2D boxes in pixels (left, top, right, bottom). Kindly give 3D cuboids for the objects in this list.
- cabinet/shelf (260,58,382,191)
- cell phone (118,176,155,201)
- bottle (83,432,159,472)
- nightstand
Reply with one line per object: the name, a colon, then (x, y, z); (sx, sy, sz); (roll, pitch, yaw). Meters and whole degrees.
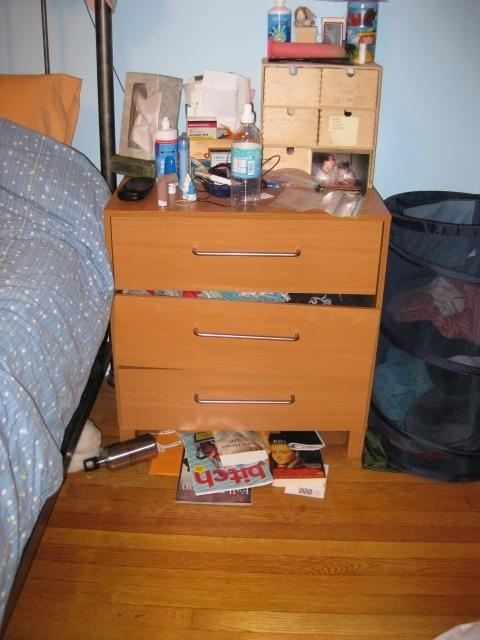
cabinet/shelf: (0.206, -0.500, 1.377); (0.344, 0.326, 0.130); (3, 33, 5)
cell phone: (-0.258, -0.325, 1.355); (0.074, 0.043, 0.156); (2, 20, -1)
bottle: (-0.320, 0.329, 1.476); (0.181, 0.064, 0.082); (-15, 29, -25)
nightstand: (0.017, 0.029, 1.538); (0.691, 0.638, 0.366); (1, 16, -2)
